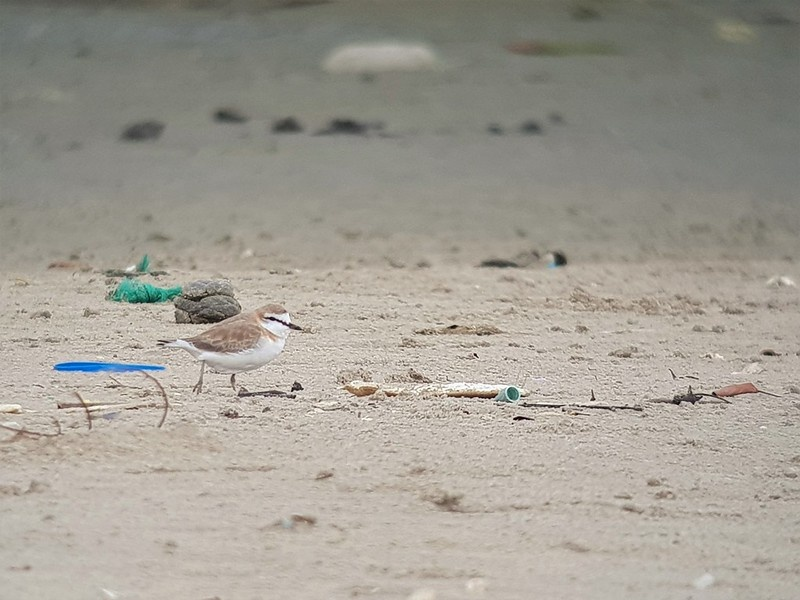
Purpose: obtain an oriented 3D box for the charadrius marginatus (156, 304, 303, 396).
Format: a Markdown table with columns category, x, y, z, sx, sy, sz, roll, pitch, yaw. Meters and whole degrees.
| category | x | y | z | sx | sy | sz | roll | pitch | yaw |
| --- | --- | --- | --- | --- | --- | --- | --- | --- | --- |
| charadrius marginatus | -1.053 | 0.303 | 7.768 | 1.056 | 0.357 | 0.433 | -3 | 92 | 8 |
